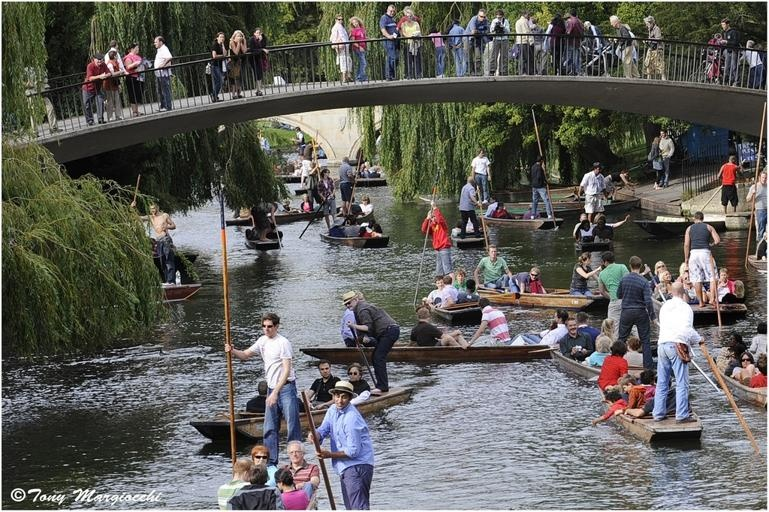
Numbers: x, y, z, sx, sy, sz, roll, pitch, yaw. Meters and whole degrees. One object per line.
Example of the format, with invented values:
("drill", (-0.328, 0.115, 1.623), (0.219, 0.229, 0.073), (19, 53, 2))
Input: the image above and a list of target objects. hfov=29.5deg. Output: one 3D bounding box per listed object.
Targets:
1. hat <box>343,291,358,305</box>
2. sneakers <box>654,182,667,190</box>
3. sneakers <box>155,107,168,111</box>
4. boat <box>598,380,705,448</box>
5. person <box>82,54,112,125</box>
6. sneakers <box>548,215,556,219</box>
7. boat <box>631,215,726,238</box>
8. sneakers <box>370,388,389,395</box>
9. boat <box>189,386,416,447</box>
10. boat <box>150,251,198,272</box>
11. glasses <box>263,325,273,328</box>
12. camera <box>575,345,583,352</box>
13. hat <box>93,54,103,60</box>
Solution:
("hat", (-0.893, 1.050, 36.157), (0.325, 0.130, 0.297), (-42, 2, -16))
("sneakers", (10.929, -2.711, 58.074), (0.183, 0.306, 0.645), (-3, -1, -20))
("sneakers", (-6.799, -4.409, 44.610), (0.273, 0.107, 0.399), (-8, 11, -9))
("boat", (6.190, 3.819, 34.579), (1.130, 0.341, 2.279), (-6, 12, -13))
("person", (-8.617, -4.913, 43.506), (0.785, 2.038, 1.160), (-4, 10, 3))
("sneakers", (6.099, -1.388, 53.855), (0.113, 0.178, 0.401), (0, -3, -18))
("boat", (10.370, -0.931, 50.500), (4.162, 0.974, 1.290), (-2, 2, -28))
("sneakers", (-0.156, 3.391, 36.400), (0.438, 0.202, 0.154), (3, -3, -21))
("boat", (-2.143, 3.902, 35.439), (5.138, 0.749, 0.939), (-10, 11, -17))
("boat", (-6.584, 0.178, 45.721), (1.043, 0.532, 0.798), (-1, 1, -16))
("glasses", (-2.706, 1.640, 33.643), (0.201, 0.081, 0.072), (-3, 10, 17))
("camera", (4.971, 2.397, 37.633), (0.197, 0.222, 0.066), (8, -16, 2))
("hat", (-8.505, -5.851, 43.388), (0.228, 0.190, 0.359), (-8, 10, -10))
